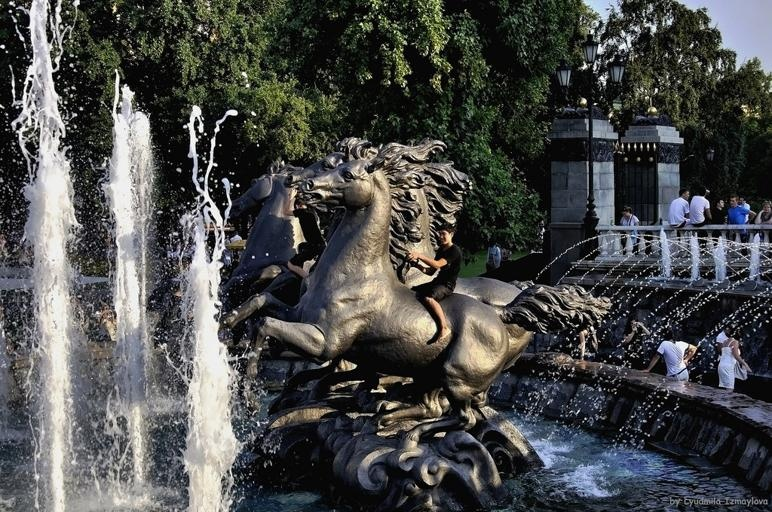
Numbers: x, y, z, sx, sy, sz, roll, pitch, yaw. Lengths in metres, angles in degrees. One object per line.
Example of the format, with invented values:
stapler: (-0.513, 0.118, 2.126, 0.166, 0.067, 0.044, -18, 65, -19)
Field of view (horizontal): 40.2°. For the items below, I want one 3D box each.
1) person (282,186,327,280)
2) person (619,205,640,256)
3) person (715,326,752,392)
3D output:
person: (-1.350, -0.321, 17.771, 0.870, 1.266, 0.435, 17, 3, 33)
person: (5.825, -0.644, 25.068, 0.415, 1.079, 1.057, 1, 3, 13)
person: (6.309, 1.859, 19.229, 0.708, 1.082, 0.490, -1, 3, -40)
